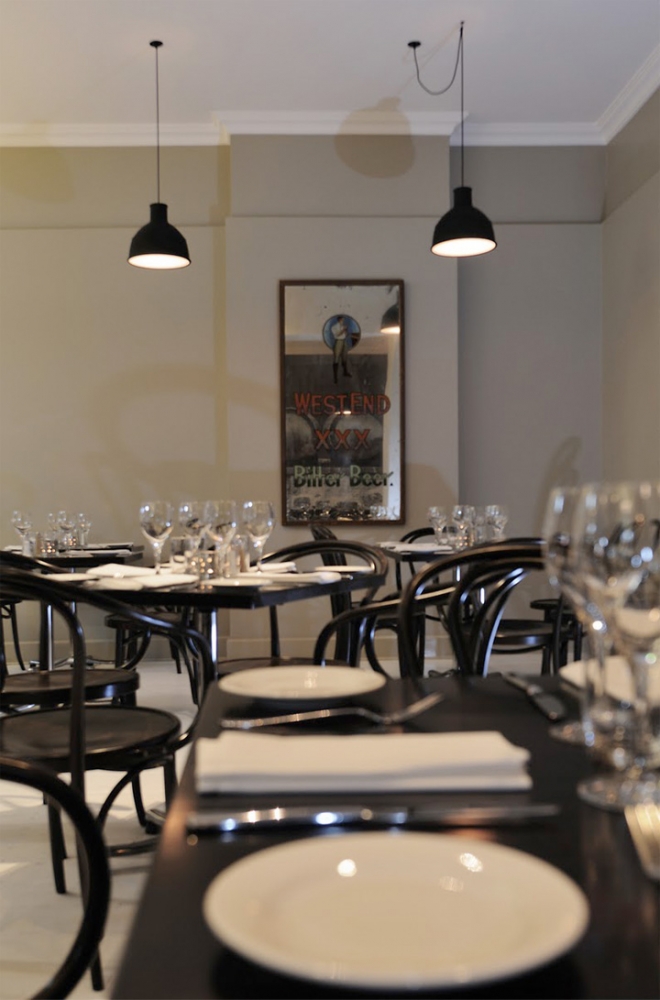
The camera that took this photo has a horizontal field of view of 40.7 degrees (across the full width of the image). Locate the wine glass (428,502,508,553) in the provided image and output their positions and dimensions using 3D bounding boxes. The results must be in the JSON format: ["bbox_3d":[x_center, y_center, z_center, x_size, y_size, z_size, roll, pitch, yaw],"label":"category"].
[{"bbox_3d":[0.624,0.126,4.130,0.369,0.150,0.302,-3,-3,39],"label":"wine glass"}]

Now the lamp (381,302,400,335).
[{"bbox_3d":[0.340,-0.979,4.826,0.142,0.161,0.147,0,0,-2],"label":"lamp"}]

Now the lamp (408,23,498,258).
[{"bbox_3d":[0.593,-1.605,4.347,0.393,1.004,1.155,0,0,8],"label":"lamp"}]

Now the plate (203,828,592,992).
[{"bbox_3d":[0.027,0.164,0.360,0.149,0.014,0.121,0,-1,16],"label":"plate"}]
